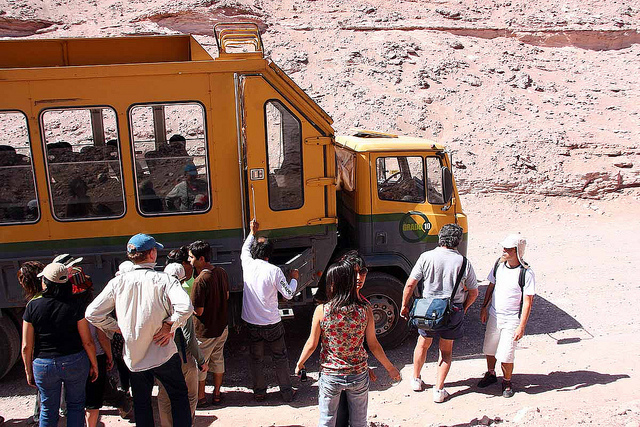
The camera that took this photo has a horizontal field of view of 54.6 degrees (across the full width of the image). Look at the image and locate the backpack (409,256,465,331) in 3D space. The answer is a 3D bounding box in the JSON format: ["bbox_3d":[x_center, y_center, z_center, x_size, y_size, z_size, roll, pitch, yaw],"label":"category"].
[{"bbox_3d":[1.959,1.324,10.185,0.924,1.129,0.360,-2,10,3],"label":"backpack"}]

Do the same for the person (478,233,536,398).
[{"bbox_3d":[3.166,1.707,10.460,0.847,2.682,0.637,2,11,26],"label":"person"}]

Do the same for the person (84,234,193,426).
[{"bbox_3d":[-2.536,1.763,9.052,1.383,2.844,0.522,-4,10,-8],"label":"person"}]

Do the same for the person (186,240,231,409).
[{"bbox_3d":[-1.791,1.860,10.234,0.632,2.837,0.436,-5,10,-12],"label":"person"}]

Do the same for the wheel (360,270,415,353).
[{"bbox_3d":[1.225,1.813,12.041,1.131,1.557,1.018,5,-5,-11],"label":"wheel"}]
